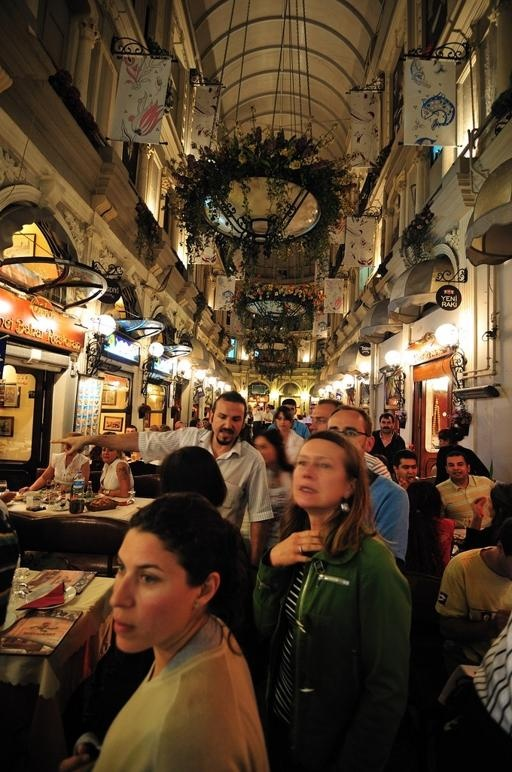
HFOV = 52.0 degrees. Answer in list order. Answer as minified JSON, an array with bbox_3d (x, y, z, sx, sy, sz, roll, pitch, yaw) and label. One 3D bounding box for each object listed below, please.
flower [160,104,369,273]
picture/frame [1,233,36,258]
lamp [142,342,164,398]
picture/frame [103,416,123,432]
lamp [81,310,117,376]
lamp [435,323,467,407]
[{"bbox_3d":[0.254,-1.422,3.795,0.815,0.416,0.862,11,-16,-18],"label":"flower"},{"bbox_3d":[-3.452,-2.051,7.735,0.337,0.317,0.753,3,-5,-36],"label":"picture/frame"},{"bbox_3d":[-2.324,-0.300,11.564,0.388,1.315,0.383,-2,-29,-1],"label":"lamp"},{"bbox_3d":[-2.908,0.771,10.643,0.303,0.315,0.022,2,-4,-33],"label":"picture/frame"},{"bbox_3d":[-2.462,-0.622,8.275,0.429,0.926,0.792,2,-4,-15],"label":"lamp"},{"bbox_3d":[2.893,-0.281,7.699,0.418,1.277,0.344,2,-20,10],"label":"lamp"}]
